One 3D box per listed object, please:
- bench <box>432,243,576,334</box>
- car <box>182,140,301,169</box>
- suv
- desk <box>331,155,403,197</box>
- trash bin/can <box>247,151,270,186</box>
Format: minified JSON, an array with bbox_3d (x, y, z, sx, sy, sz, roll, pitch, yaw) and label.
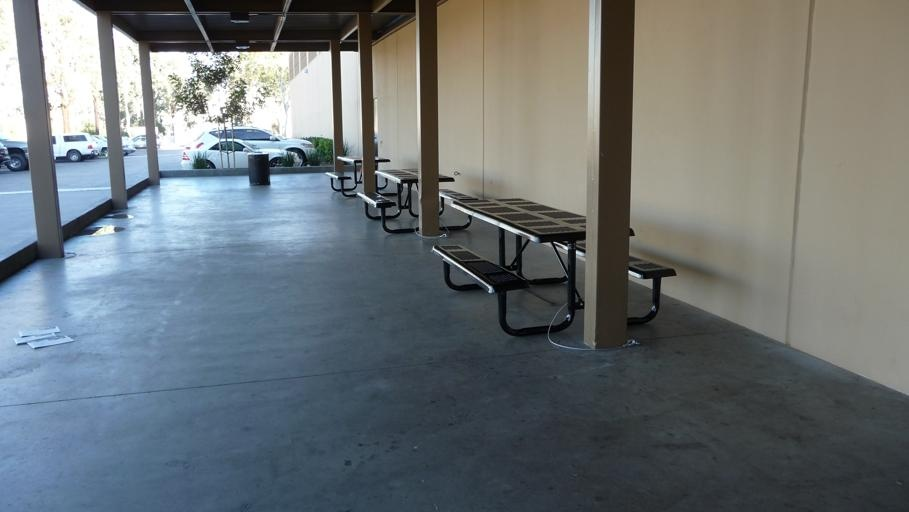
[{"bbox_3d":[0.661,0.364,6.085,1.169,0.411,1.883,4,11,-15],"label":"bench"},{"bbox_3d":[-8.472,-3.947,20.356,3.770,1.033,1.206,-4,16,-13],"label":"car"},{"bbox_3d":[-7.720,-4.423,20.561,4.921,1.507,2.000,-5,14,-18],"label":"suv"},{"bbox_3d":[-2.380,-2.187,14.655,1.197,0.618,2.178,-6,18,-19],"label":"desk"},{"bbox_3d":[-6.012,-2.681,16.421,0.612,0.918,1.007,-7,17,-21],"label":"trash bin/can"}]
